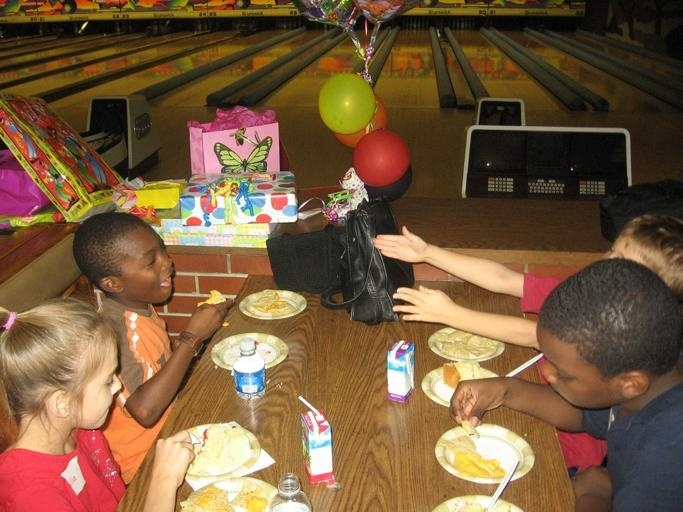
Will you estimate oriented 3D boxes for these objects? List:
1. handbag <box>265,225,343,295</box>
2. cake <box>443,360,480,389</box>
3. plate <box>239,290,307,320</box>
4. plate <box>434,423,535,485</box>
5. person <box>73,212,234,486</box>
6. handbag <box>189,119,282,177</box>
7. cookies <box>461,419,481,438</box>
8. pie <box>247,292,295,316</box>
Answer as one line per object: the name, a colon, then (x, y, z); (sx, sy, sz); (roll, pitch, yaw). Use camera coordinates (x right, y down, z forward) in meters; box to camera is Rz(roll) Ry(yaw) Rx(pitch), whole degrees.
handbag: (-0.150, -0.002, 2.116); (0.337, 0.243, 0.280); (-9, 25, 0)
cake: (0.360, 0.335, 1.466); (0.081, 0.056, 0.079); (-13, 17, -33)
plate: (-0.270, 0.139, 1.892); (0.253, 0.094, 0.209); (-7, 18, -26)
plate: (0.326, 0.467, 1.317); (0.293, 0.079, 0.315); (3, 14, 5)
person: (-0.592, 0.279, 1.551); (0.329, 0.895, 0.402); (-8, 50, -12)
handbag: (-0.569, -0.558, 2.581); (0.475, 0.257, 0.183); (-3, 26, -1)
cookies: (0.336, 0.452, 1.290); (0.037, 0.010, 0.038); (52, 34, 16)
pie: (-0.273, 0.189, 1.891); (0.111, 0.012, 0.111); (1, 27, 0)
